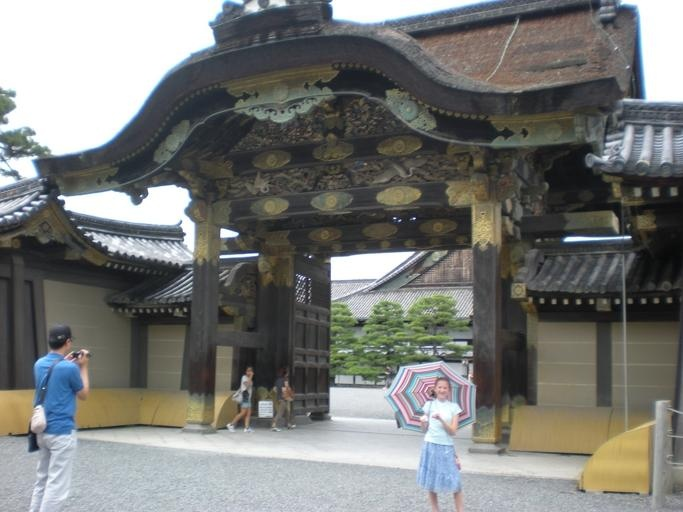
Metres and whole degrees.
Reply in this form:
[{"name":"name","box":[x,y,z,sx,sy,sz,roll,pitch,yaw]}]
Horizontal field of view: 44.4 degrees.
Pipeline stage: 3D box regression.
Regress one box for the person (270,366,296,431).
[{"name":"person","box":[-1.102,2.833,16.625,0.463,1.199,0.874,2,-9,-2]}]

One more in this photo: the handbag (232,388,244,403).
[{"name":"handbag","box":[-1.981,2.717,16.214,0.194,0.293,0.512,3,-9,-9]}]

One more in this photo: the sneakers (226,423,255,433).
[{"name":"sneakers","box":[-1.937,3.311,16.143,0.568,0.199,0.175,-1,-1,9]}]

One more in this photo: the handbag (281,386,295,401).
[{"name":"handbag","box":[-1.009,2.650,16.388,0.159,0.406,0.371,-3,-10,24]}]

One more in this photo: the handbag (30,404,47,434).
[{"name":"handbag","box":[-3.382,1.828,9.362,0.211,0.337,0.125,-7,-13,44]}]

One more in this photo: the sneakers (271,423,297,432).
[{"name":"sneakers","box":[-1.162,3.390,16.519,0.572,0.200,0.161,-4,-9,10]}]

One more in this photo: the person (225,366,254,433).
[{"name":"person","box":[-1.940,2.792,16.437,0.443,1.224,0.988,3,-9,-6]}]
